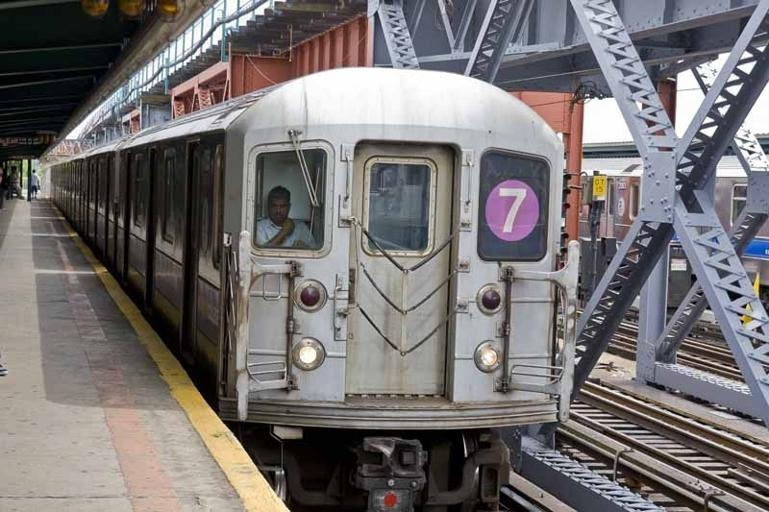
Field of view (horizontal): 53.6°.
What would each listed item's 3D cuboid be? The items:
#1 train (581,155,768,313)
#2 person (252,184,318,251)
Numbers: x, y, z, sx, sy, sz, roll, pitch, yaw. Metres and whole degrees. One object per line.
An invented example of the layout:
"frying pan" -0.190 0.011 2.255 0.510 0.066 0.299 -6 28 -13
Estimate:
"train" 9.466 -1.295 29.534 3.788 5.667 15.621 -1 4 -6
"person" -1.097 -0.368 8.163 0.646 0.712 0.390 0 -14 -27
